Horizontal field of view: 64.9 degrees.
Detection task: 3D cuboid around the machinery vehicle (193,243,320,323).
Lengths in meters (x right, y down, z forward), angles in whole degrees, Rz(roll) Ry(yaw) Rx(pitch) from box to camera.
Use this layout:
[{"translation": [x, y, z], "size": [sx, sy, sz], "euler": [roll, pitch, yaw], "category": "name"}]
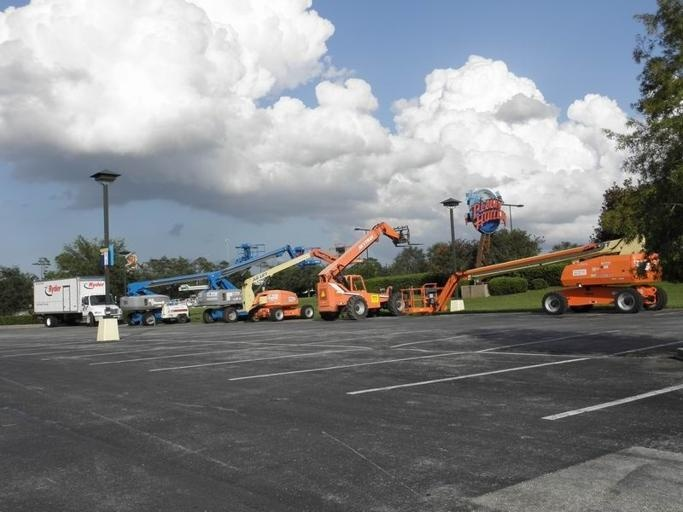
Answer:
[{"translation": [-6.722, 2.482, 40.435], "size": [8.144, 4.822, 3.385], "euler": [-4, -4, -10], "category": "machinery vehicle"}]
